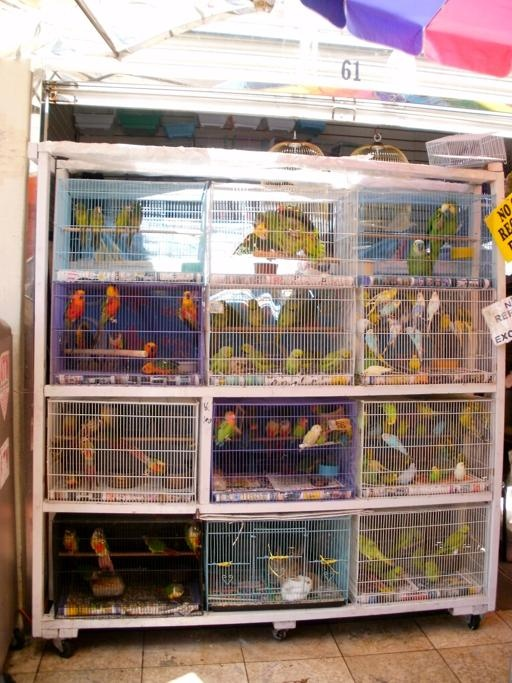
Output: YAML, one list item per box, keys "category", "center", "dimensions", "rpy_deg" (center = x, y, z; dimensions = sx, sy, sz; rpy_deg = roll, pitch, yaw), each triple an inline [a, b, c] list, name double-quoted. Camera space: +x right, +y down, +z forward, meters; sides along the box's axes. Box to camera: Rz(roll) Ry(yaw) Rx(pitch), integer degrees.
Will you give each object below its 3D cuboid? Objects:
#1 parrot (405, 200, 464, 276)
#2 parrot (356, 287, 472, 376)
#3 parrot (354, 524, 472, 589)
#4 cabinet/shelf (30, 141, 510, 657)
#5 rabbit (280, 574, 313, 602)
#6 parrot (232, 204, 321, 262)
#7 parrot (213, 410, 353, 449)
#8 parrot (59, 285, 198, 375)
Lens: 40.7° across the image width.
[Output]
- category: "parrot"
  center: [0.797, -0.474, 3.172]
  dimensions: [0.228, 0.327, 0.111]
  rpy_deg: [37, 15, -6]
- category: "parrot"
  center: [0.698, -0.037, 3.242]
  dimensions: [0.605, 0.626, 0.347]
  rpy_deg: [2, -4, -15]
- category: "parrot"
  center: [0.686, 0.958, 3.071]
  dimensions: [0.426, 0.277, 0.330]
  rpy_deg: [-1, 4, -12]
- category: "cabinet/shelf"
  center: [0.026, 0.284, 2.979]
  dimensions: [2.084, 2.143, 0.721]
  rpy_deg: [0, 0, -13]
- category: "rabbit"
  center: [0.171, 1.037, 2.935]
  dimensions: [0.112, 0.088, 0.089]
  rpy_deg: [3, -3, -34]
- category: "parrot"
  center: [0.118, -0.496, 3.048]
  dimensions: [0.350, 0.253, 0.264]
  rpy_deg: [-6, 11, -26]
- category: "parrot"
  center: [0.099, 0.336, 3.123]
  dimensions: [0.514, 0.186, 0.421]
  rpy_deg: [0, 6, -17]
- category: "parrot"
  center: [-0.581, -0.041, 2.986]
  dimensions: [0.617, 0.440, 0.361]
  rpy_deg: [1, -4, -6]
